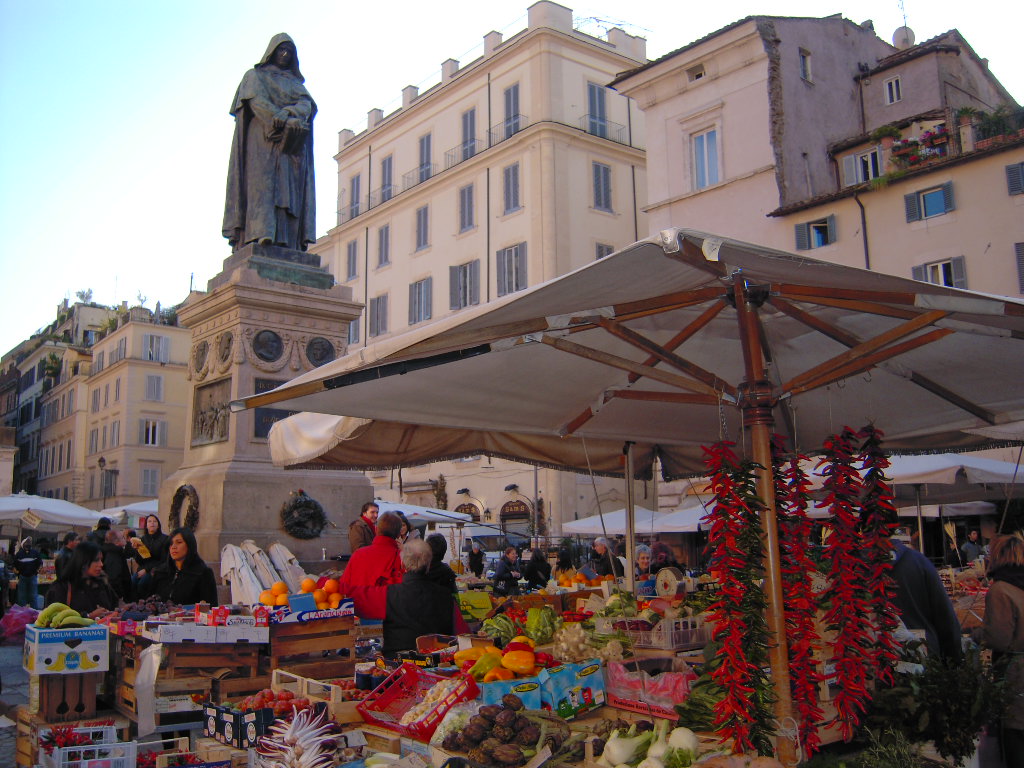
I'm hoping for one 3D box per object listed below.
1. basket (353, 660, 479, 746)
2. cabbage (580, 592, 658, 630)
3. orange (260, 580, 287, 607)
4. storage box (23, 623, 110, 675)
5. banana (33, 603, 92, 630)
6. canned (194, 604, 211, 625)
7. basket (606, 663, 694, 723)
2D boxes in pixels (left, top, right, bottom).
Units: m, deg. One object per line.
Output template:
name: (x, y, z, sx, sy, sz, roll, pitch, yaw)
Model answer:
basket: (-0.582, 1.880, 5.885, 0.651, 0.358, 0.513, -2, -4, -31)
cabbage: (0.815, 1.735, 7.498, 0.383, 0.160, 0.382, -3, -3, -1)
orange: (-1.889, 1.691, 7.854, 0.257, 0.110, 0.157, -28, -32, 19)
storage box: (-3.310, 1.939, 7.322, 0.502, 0.365, 0.589, 2, -4, -38)
banana: (-3.339, 1.738, 7.325, 0.276, 0.124, 0.213, 4, -10, 5)
canned: (-2.367, 1.759, 7.528, 0.140, 0.150, 0.140, -2, -14, 6)
basket: (0.939, 1.879, 6.071, 0.453, 0.279, 0.719, 10, -14, -35)
